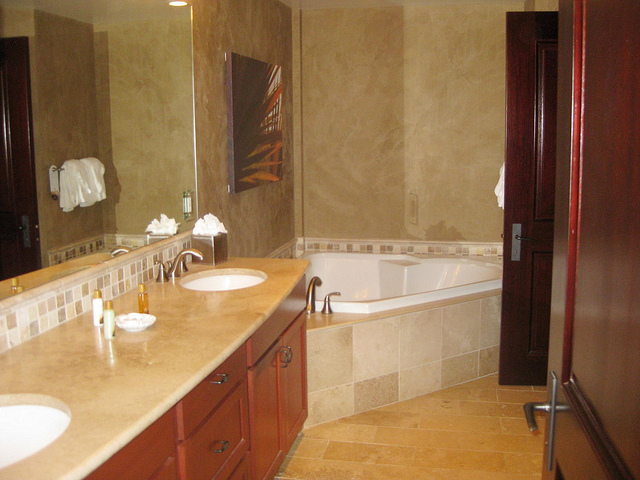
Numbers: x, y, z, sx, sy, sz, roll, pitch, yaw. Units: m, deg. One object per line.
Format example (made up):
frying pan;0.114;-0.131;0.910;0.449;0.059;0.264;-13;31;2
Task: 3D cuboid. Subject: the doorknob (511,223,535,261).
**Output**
doorknob;1.267;0.014;3.395;0.059;0.231;0.145;2;0;5

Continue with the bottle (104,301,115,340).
bottle;-0.704;0.264;1.770;0.036;0.139;0.070;-4;13;-22

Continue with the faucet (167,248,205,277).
faucet;-0.641;0.104;2.564;0.176;0.144;0.173;-1;17;9

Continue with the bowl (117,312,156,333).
bowl;-0.657;0.293;1.878;0.111;0.036;0.145;-10;17;-43

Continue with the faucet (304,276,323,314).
faucet;-0.040;0.342;3.309;0.086;0.236;0.180;1;12;1

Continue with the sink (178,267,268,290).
sink;-0.476;0.217;2.609;0.428;0.108;0.216;-3;13;-18

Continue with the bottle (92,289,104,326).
bottle;-0.803;0.235;1.914;0.036;0.143;0.131;-5;14;-24

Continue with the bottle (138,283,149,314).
bottle;-0.674;0.222;2.026;0.038;0.128;0.182;-3;13;-18
